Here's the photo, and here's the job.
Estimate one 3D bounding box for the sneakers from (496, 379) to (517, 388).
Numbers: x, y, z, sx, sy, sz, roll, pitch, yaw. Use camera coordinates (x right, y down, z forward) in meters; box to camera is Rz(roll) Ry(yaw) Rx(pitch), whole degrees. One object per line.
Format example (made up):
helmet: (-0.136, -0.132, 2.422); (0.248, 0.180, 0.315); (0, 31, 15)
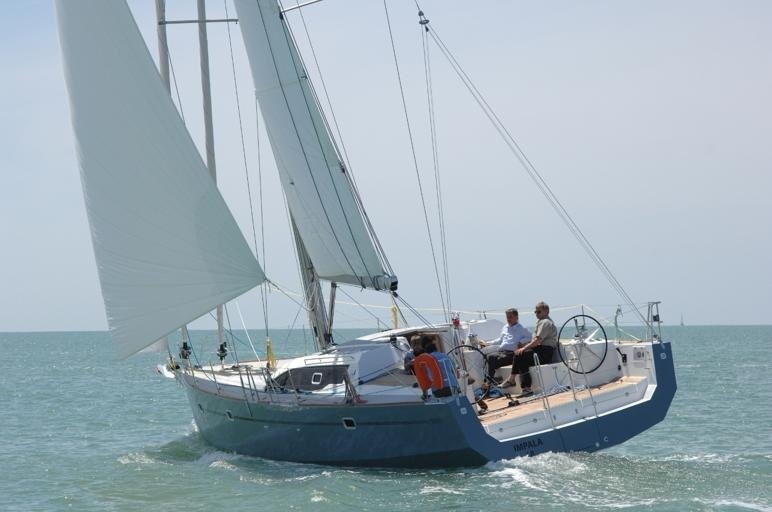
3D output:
sneakers: (2.245, 2.368, 11.676); (0.360, 0.139, 0.125); (1, -2, 5)

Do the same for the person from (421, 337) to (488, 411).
person: (1.146, 2.034, 10.734); (0.395, 1.175, 0.315); (-17, -10, -40)
